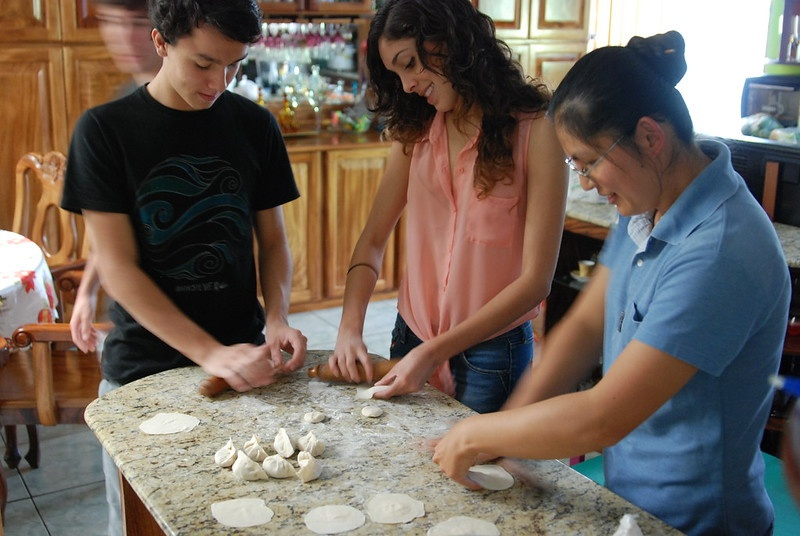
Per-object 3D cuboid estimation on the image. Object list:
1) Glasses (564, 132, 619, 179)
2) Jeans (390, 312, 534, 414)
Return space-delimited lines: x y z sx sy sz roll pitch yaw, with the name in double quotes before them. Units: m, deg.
"Glasses" 0.456 -0.256 1.556 0.081 0.024 0.078 -47 11 4
"Jeans" 0.203 0.273 2.177 0.296 0.430 0.151 8 30 23
